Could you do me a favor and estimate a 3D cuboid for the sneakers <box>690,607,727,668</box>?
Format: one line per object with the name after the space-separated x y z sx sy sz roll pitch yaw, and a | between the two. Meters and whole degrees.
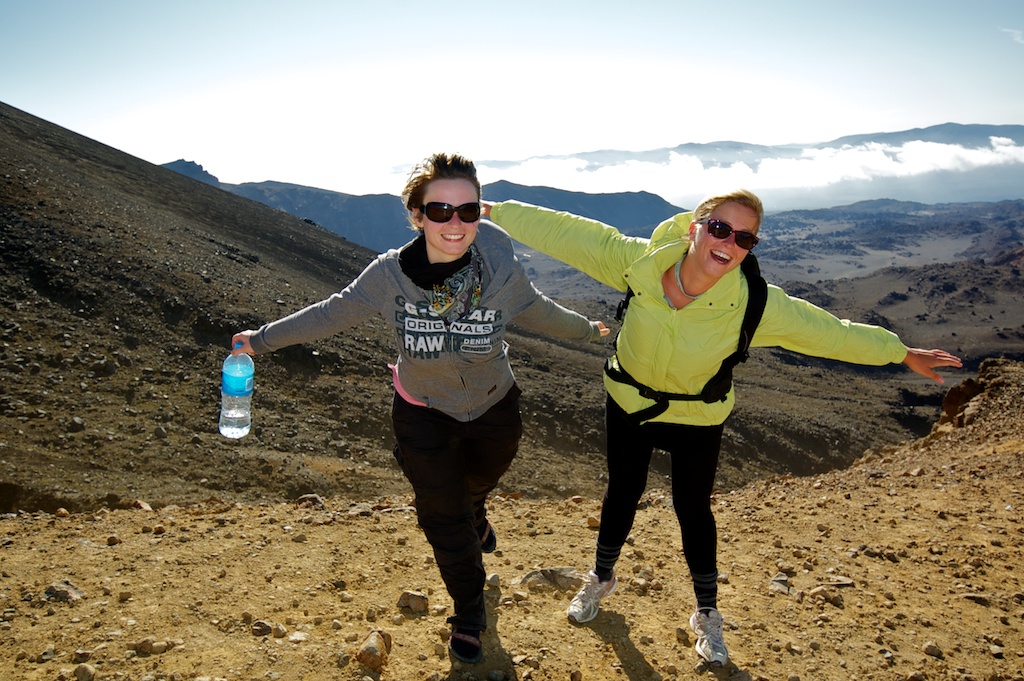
1.760 2.653 6.851 0.250 0.203 0.540 -7 33 -8 | sneakers

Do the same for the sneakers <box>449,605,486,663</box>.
-0.385 2.580 6.625 0.253 0.191 0.602 0 17 -2 | sneakers

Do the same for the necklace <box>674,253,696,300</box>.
1.491 -0.549 6.755 0.095 0.297 0.348 -15 -11 -3 | necklace

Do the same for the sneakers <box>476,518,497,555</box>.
-0.316 2.067 7.959 0.190 0.451 0.235 -8 -18 21 | sneakers
